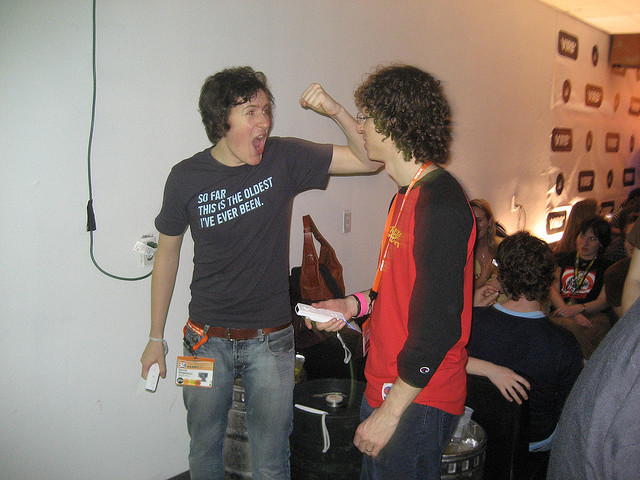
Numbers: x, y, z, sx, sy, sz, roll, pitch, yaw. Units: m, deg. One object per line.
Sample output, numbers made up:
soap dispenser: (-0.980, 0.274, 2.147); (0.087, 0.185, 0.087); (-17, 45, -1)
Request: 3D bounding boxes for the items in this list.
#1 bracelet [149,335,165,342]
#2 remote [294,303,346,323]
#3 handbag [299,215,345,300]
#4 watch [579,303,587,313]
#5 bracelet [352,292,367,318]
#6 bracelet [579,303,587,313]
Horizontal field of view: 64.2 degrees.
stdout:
bracelet: (-0.770, 0.463, 2.409); (0.074, 0.028, 0.054); (-3, 4, -44)
remote: (-0.009, 0.287, 1.994); (0.144, 0.039, 0.093); (9, 18, -22)
handbag: (-0.004, 0.102, 3.027); (0.196, 0.609, 0.383); (-11, -14, 25)
watch: (1.955, 0.512, 3.794); (0.026, 0.040, 0.041); (17, 5, -11)
bracelet: (0.161, 0.275, 2.102); (0.028, 0.081, 0.077); (-2, 5, -6)
bracelet: (1.950, 0.508, 3.793); (0.032, 0.050, 0.049); (10, 12, -31)
